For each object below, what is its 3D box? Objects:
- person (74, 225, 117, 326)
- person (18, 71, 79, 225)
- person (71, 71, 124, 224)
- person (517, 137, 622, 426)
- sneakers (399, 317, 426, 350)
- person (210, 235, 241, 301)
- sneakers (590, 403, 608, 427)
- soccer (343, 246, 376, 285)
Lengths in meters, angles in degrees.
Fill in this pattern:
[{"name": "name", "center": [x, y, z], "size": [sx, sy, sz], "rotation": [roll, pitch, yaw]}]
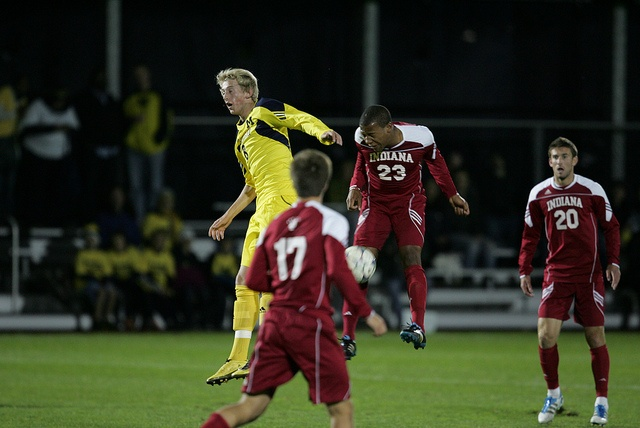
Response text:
[{"name": "person", "center": [-3.888, 1.121, 16.727], "size": [0.637, 1.790, 0.822], "rotation": [-7, -15, -16]}, {"name": "person", "center": [-4.651, -0.947, 16.491], "size": [0.994, 2.224, 1.176], "rotation": [0, -4, -19]}, {"name": "person", "center": [-3.911, -1.176, 17.017], "size": [0.672, 2.531, 0.890], "rotation": [-2, -4, 13]}, {"name": "person", "center": [3.321, 0.860, 12.872], "size": [1.295, 3.774, 0.554], "rotation": [-2, -4, 16]}, {"name": "sneakers", "center": [1.222, 1.554, 12.562], "size": [0.175, 0.259, 0.504], "rotation": [-9, -45, 35]}, {"name": "person", "center": [-2.020, 1.126, 20.248], "size": [0.650, 1.166, 0.437], "rotation": [-3, -7, 4]}, {"name": "sneakers", "center": [3.641, 2.603, 12.634], "size": [0.214, 0.264, 0.240], "rotation": [-2, -4, 14]}, {"name": "soccer", "center": [0.448, 0.618, 12.020], "size": [0.404, 0.408, 0.225], "rotation": [-22, -17, -35]}]
